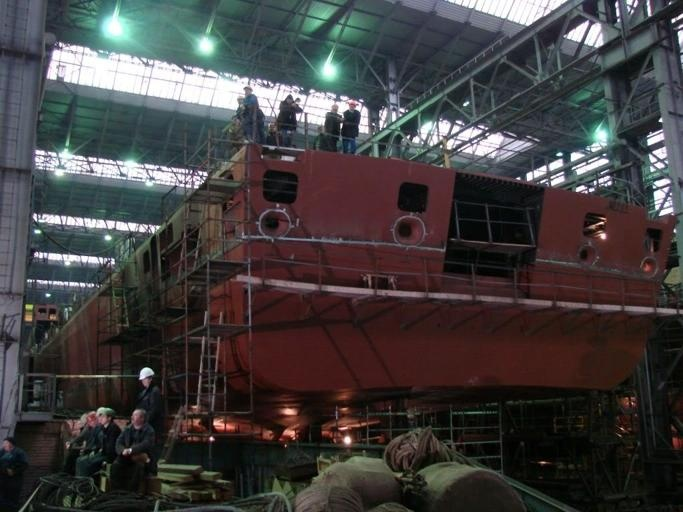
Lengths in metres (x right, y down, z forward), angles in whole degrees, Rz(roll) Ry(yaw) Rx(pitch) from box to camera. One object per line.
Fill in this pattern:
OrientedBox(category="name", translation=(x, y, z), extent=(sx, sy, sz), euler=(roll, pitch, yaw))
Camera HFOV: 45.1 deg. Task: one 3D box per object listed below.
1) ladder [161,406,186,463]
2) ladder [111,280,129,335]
OrientedBox(category="ladder", translation=(-5.417, 5.738, 26.592), extent=(0.676, 1.840, 2.371), euler=(4, -17, -11))
OrientedBox(category="ladder", translation=(-10.250, 2.340, 38.225), extent=(0.858, 2.452, 2.474), euler=(-2, -3, -19))
